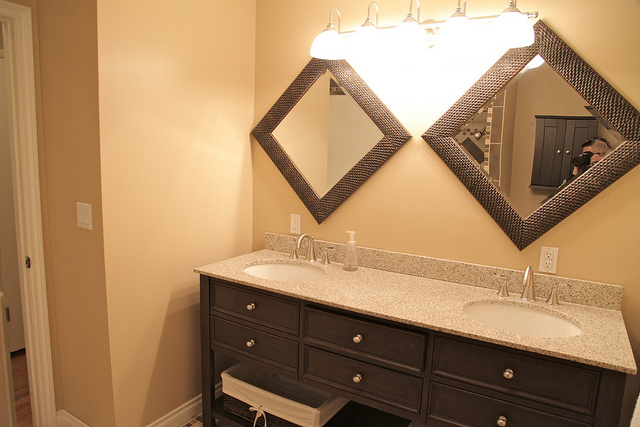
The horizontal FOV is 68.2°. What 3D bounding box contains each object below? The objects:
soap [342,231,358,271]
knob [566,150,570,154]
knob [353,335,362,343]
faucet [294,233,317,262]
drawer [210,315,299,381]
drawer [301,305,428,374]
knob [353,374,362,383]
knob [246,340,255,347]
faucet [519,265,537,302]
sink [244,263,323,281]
[{"bbox_3d":[0.209,0.236,3.041,0.097,0.257,0.140,7,12,5],"label":"soap"},{"bbox_3d":[1.387,-0.340,2.633,0.016,0.022,0.005,8,13,13],"label":"knob"},{"bbox_3d":[0.202,0.678,2.535,0.029,0.041,0.043,-7,-31,39],"label":"knob"},{"bbox_3d":[-0.084,0.227,3.125,0.157,0.186,0.133,4,12,-6],"label":"faucet"},{"bbox_3d":[-0.379,0.802,2.823,0.461,0.158,0.345,5,4,28],"label":"drawer"},{"bbox_3d":[0.256,0.674,2.538,0.408,0.095,0.390,7,-1,23],"label":"drawer"},{"bbox_3d":[0.204,0.900,2.555,0.047,0.048,0.025,7,12,5],"label":"knob"},{"bbox_3d":[-0.418,0.785,2.827,0.047,0.053,0.019,9,13,16],"label":"knob"},{"bbox_3d":[1.188,0.397,2.652,0.085,0.192,0.082,11,13,24],"label":"faucet"},{"bbox_3d":[-0.230,0.395,3.099,0.501,0.115,0.160,6,11,4],"label":"sink"}]
